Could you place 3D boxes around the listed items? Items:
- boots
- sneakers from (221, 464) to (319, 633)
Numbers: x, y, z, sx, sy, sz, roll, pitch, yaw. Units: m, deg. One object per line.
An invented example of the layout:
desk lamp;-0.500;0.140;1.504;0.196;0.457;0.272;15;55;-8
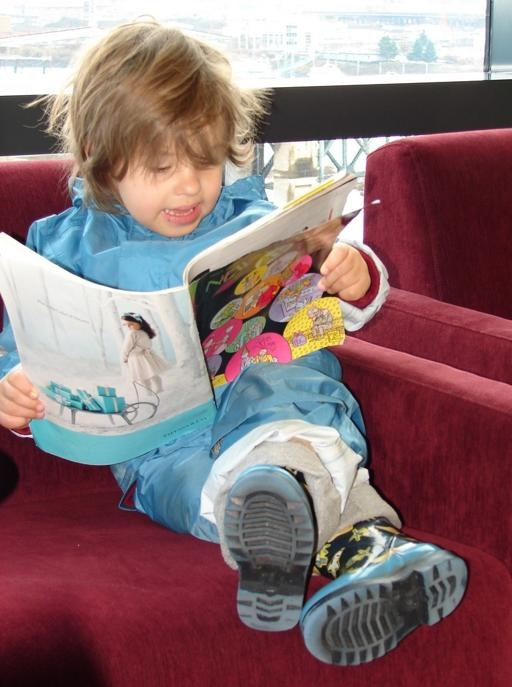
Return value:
boots;0.120;0.237;0.596;0.165;0.075;0.155;-19;11;-18
sneakers;0.013;0.204;0.618;0.096;0.162;0.066;-20;32;-23
